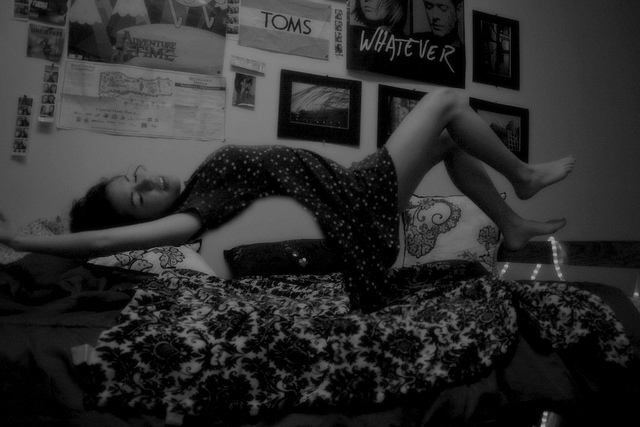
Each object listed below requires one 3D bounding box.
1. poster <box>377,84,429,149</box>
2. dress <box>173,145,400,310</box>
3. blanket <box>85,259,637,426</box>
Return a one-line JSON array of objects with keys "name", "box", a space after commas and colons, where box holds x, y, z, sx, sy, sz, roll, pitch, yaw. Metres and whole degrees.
[{"name": "poster", "box": [0.530, -0.634, 3.129, 0.323, 0.318, 0.026, 10, 34, 26]}, {"name": "dress", "box": [-0.220, -0.118, 2.410, 1.010, 0.349, 0.999, 14, 46, 39]}, {"name": "blanket", "box": [0.005, 0.439, 1.786, 1.281, 0.320, 0.715, -1, -7, -7]}]
